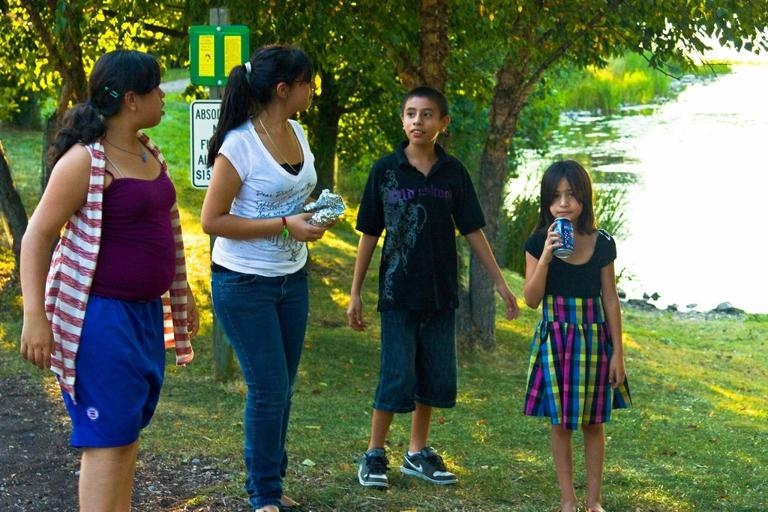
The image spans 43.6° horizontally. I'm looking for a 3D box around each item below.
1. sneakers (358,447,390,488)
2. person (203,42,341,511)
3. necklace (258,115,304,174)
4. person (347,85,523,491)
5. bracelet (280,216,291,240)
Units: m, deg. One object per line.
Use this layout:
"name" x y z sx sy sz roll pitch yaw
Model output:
"sneakers" -0.076 1.925 8.909 0.286 0.341 0.222 3 9 -5
"person" -1.042 0.183 8.180 0.934 3.856 0.704 2 9 -11
"necklace" -0.910 -0.957 8.256 0.283 0.574 0.135 -17 -15 -47
"person" 0.331 0.288 8.899 1.269 3.607 0.666 3 9 -3
"bracelet" -0.825 -0.231 8.159 0.049 0.158 0.124 -13 -5 0
